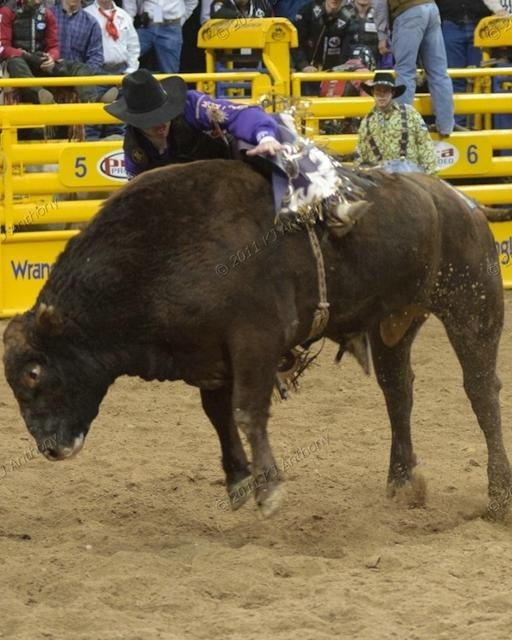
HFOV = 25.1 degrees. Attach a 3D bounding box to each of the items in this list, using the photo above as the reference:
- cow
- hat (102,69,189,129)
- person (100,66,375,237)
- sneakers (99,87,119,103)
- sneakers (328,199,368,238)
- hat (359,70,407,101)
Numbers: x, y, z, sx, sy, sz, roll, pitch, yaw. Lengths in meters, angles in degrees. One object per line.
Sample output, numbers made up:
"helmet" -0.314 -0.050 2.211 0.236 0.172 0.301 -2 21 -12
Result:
"cow" 0.089 0.140 5.117 2.218 1.790 0.837 -7 19 -25
"hat" -0.514 -1.067 5.051 0.404 0.144 0.377 -11 40 3
"person" -0.117 -0.863 5.255 1.436 0.461 0.603 9 14 -16
"sneakers" -1.208 -1.915 9.282 0.106 0.087 0.261 6 -2 -7
"sneakers" 0.398 -0.465 4.845 0.124 0.159 0.184 13 20 36
"hat" 0.927 -1.827 8.311 0.323 0.095 0.303 1 -15 7
